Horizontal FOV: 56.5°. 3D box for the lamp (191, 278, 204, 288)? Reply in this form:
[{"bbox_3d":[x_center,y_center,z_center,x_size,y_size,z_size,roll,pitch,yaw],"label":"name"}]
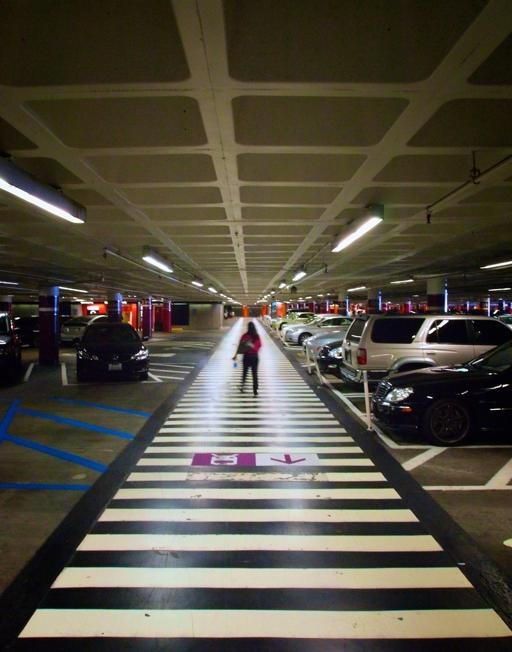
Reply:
[{"bbox_3d":[-2.357,-1.748,18.997,0.418,0.198,0.573,17,-9,-32],"label":"lamp"}]

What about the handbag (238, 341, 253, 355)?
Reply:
[{"bbox_3d":[-0.230,0.488,9.955,0.250,0.278,0.273,2,6,29],"label":"handbag"}]

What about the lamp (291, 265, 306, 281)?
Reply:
[{"bbox_3d":[1.382,-1.758,15.863,0.421,0.100,0.434,-18,-11,-7],"label":"lamp"}]

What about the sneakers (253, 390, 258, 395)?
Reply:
[{"bbox_3d":[-0.031,1.415,10.188,0.120,0.110,0.064,-2,-6,17],"label":"sneakers"}]

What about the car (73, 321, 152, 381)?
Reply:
[{"bbox_3d":[-3.720,0.732,12.134,1.691,1.365,1.675,-2,5,-18],"label":"car"}]
